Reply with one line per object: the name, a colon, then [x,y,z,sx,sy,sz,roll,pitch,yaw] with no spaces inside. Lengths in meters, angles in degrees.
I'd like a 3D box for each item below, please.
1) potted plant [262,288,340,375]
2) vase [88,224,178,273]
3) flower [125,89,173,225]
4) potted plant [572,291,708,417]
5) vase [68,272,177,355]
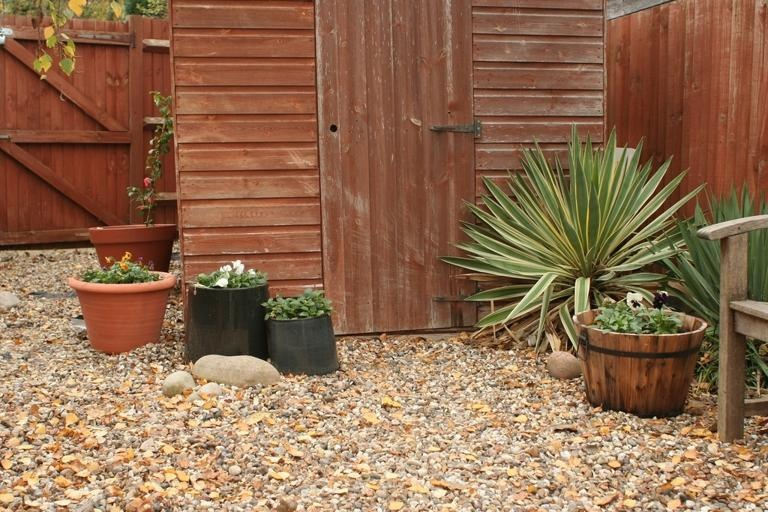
potted plant: [-0.604,0.510,6.128,0.583,0.743,0.535,-1,0,-10]
vase: [-2.356,-0.123,8.037,0.585,0.464,0.607,-1,0,-8]
flower: [-2.540,-1.052,9.214,0.523,1.506,1.667,-3,8,-16]
potted plant: [1.652,0.621,5.643,0.694,0.670,0.797,1,2,3]
vase: [-1.964,0.354,6.358,0.613,0.447,0.632,3,6,17]
